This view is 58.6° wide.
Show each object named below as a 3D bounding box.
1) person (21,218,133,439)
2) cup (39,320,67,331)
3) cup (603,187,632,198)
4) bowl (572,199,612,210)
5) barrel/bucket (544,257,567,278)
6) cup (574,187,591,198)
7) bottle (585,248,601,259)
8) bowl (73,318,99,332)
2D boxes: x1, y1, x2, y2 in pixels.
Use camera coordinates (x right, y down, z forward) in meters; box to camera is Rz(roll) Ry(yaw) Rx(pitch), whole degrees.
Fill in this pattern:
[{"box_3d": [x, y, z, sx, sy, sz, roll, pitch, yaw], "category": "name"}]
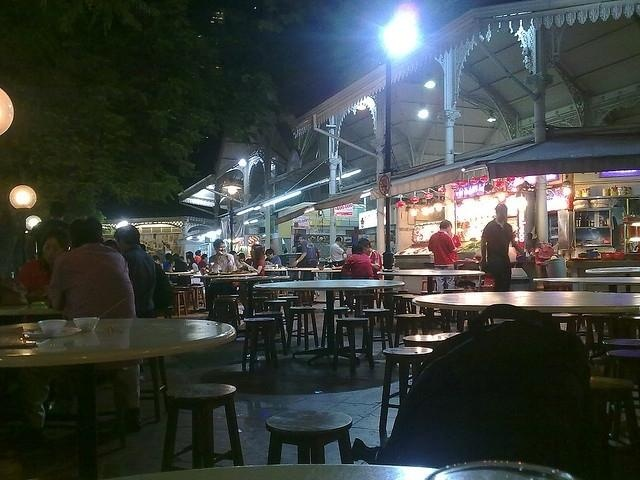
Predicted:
[{"box_3d": [-1.951, 0.739, 4.709, 0.850, 1.870, 0.720, -1, -3, -21], "category": "person"}, {"box_3d": [-1.534, 0.494, 3.279, 0.127, 0.061, 0.102, -1, -4, -30], "category": "cup"}, {"box_3d": [7.408, -1.197, 14.177, 0.419, 0.178, 0.334, 0, 0, 10], "category": "cup"}, {"box_3d": [6.872, -0.905, 14.449, 0.842, 0.301, 0.132, -4, -3, 21], "category": "bowl"}, {"box_3d": [4.209, 0.516, 10.176, 0.305, 0.366, 0.398, -6, -13, 29], "category": "barrel/bucket"}, {"box_3d": [6.724, -1.203, 14.580, 0.330, 0.341, 0.189, -1, 0, 11], "category": "cup"}, {"box_3d": [5.355, 0.286, 11.166, 0.215, 0.180, 1.271, -4, -3, 26], "category": "bottle"}, {"box_3d": [-1.392, 0.511, 3.443, 0.096, 0.055, 0.100, -5, -7, -1], "category": "bowl"}]
